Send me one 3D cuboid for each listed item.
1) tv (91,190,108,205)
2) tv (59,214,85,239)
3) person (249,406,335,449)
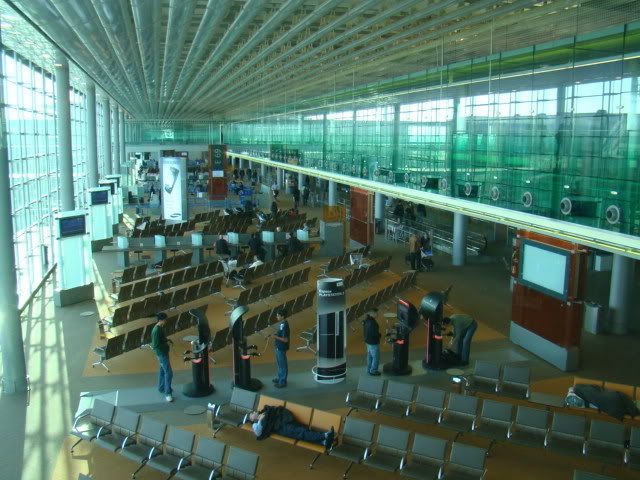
[{"bbox_3d":[-9.121,-1.754,22.029,0.362,0.627,0.943,0,12,22],"label":"tv"},{"bbox_3d":[-7.216,-0.403,15.481,0.402,0.440,0.756,7,11,39],"label":"tv"},{"bbox_3d":[-0.519,3.246,9.436,1.832,0.371,0.555,0,17,32],"label":"person"}]
